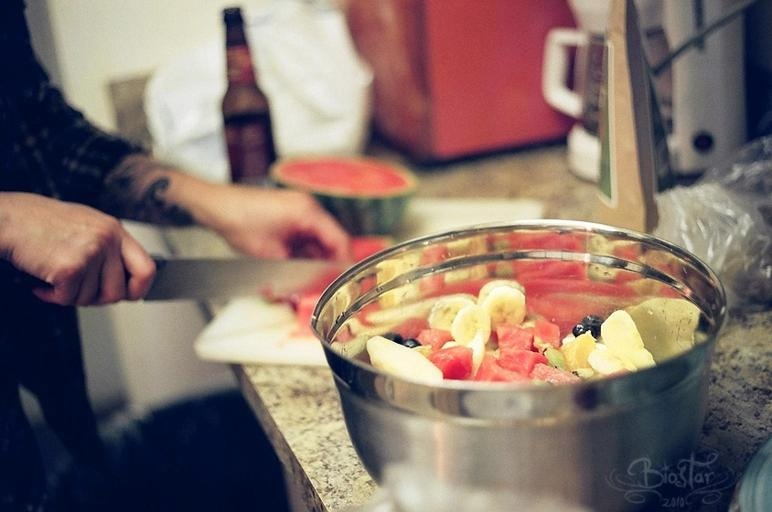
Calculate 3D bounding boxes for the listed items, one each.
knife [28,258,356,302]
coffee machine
[{"bbox_3d":[-0.347,0.039,1.224,0.575,0.081,0.052,-1,15,-12],"label":"knife"},{"bbox_3d":[0.486,-0.311,1.291,0.366,0.351,0.210,-14,31,-6],"label":"coffee machine"}]
